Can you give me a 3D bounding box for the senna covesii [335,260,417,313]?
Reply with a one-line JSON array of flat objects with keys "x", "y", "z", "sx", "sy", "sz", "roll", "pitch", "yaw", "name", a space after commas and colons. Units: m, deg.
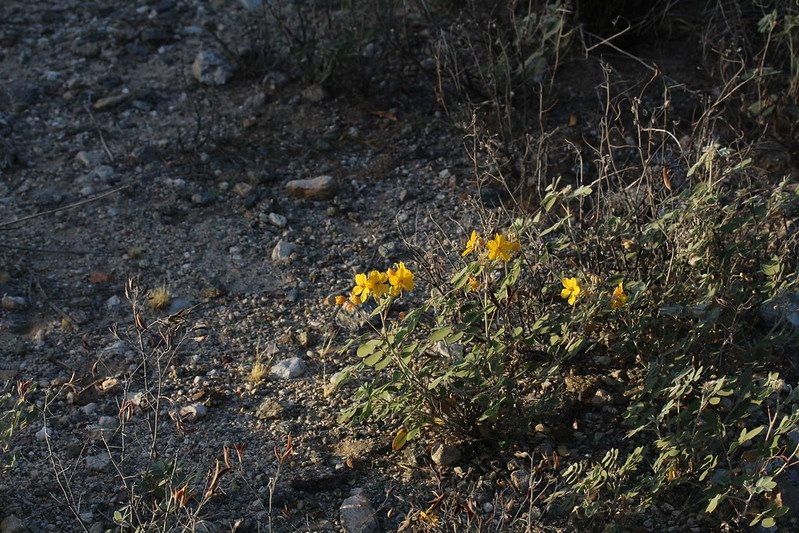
[{"x": -0.122, "y": 0.071, "z": 4.473, "sx": 0.458, "sy": 0.285, "sz": 0.208, "roll": -19, "pitch": 39, "yaw": 22, "name": "senna covesii"}]
